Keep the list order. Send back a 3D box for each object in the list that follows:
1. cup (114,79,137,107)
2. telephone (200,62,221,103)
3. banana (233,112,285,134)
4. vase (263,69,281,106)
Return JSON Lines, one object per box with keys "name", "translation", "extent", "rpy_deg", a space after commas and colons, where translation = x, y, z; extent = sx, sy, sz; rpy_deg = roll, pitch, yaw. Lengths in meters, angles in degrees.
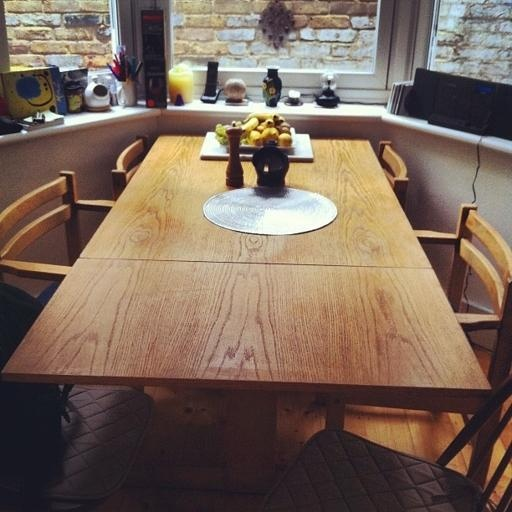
{"name": "cup", "translation": [-0.636, -0.779, 2.073], "extent": [0.110, 0.121, 0.059], "rpy_deg": [10, 14, 25]}
{"name": "telephone", "translation": [-0.231, -0.887, 2.220], "extent": [0.090, 0.220, 0.175], "rpy_deg": [4, 13, -3]}
{"name": "banana", "translation": [0.015, -0.556, 1.781], "extent": [0.194, 0.039, 0.097], "rpy_deg": [-5, 31, -2]}
{"name": "vase", "translation": [0.078, -0.837, 2.161], "extent": [0.088, 0.185, 0.168], "rpy_deg": [4, 12, 0]}
